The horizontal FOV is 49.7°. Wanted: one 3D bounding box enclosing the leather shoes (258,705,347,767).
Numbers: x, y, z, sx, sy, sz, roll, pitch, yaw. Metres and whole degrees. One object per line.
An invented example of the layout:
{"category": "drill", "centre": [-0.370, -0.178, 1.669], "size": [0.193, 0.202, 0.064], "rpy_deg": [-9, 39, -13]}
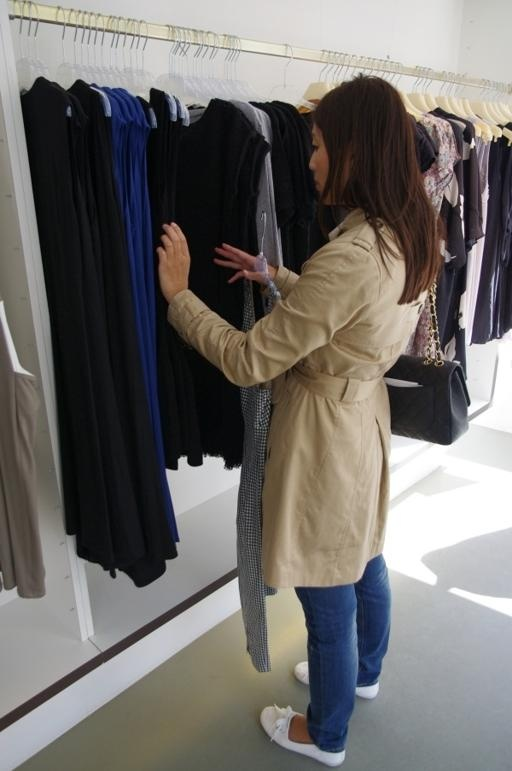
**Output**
{"category": "leather shoes", "centre": [0.120, 0.862, 1.380], "size": [0.207, 0.083, 0.088], "rpy_deg": [27, 32, 31]}

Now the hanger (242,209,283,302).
{"category": "hanger", "centre": [0.014, -0.301, 1.239], "size": [0.030, 0.345, 0.134], "rpy_deg": [-10, 24, -16]}

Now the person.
{"category": "person", "centre": [0.090, 0.194, 1.157], "size": [0.515, 1.502, 0.383], "rpy_deg": [4, 13, 19]}
